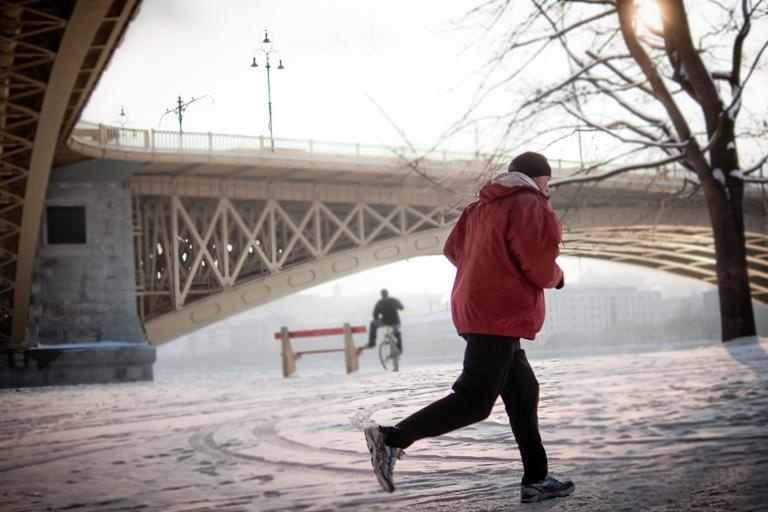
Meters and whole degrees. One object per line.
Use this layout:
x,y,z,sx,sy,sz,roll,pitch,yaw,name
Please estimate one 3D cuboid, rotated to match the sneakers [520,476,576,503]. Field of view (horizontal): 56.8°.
1.536,2.221,6.846,0.588,0.237,0.195,-7,-6,-13,sneakers
